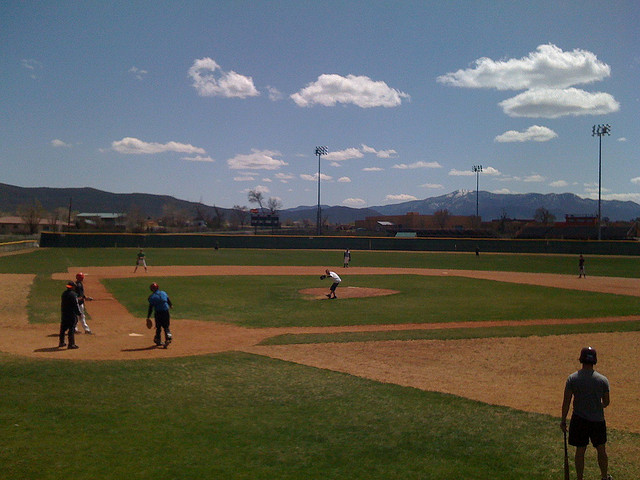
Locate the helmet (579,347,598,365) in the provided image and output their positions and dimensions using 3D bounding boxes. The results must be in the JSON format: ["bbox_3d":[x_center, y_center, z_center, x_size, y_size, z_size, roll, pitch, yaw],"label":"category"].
[{"bbox_3d":[5.860,2.579,14.105,0.338,0.421,0.598,3,7,22],"label":"helmet"}]
